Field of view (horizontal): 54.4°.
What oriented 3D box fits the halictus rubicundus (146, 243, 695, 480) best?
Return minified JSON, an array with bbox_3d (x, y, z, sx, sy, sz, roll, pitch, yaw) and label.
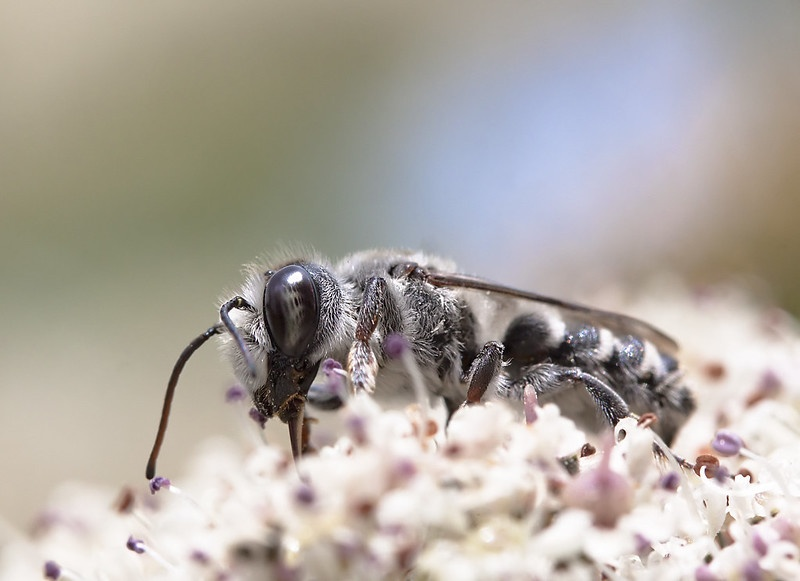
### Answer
[{"bbox_3d":[0.143,0.140,2.260,1.095,0.854,0.440,5,-97,-19],"label":"halictus rubicundus"}]
